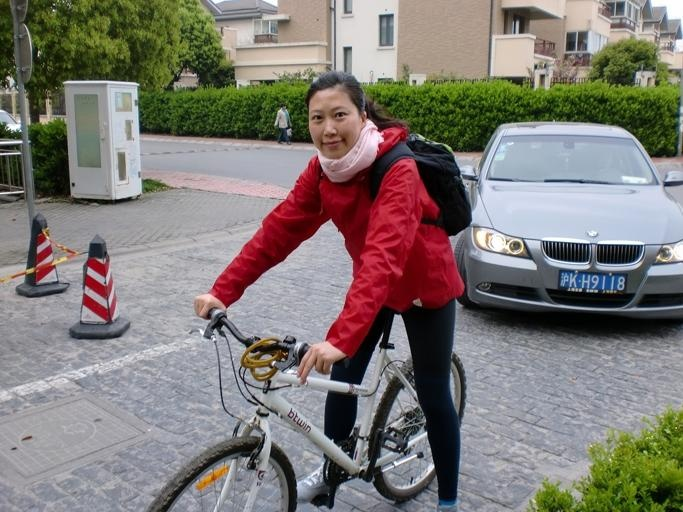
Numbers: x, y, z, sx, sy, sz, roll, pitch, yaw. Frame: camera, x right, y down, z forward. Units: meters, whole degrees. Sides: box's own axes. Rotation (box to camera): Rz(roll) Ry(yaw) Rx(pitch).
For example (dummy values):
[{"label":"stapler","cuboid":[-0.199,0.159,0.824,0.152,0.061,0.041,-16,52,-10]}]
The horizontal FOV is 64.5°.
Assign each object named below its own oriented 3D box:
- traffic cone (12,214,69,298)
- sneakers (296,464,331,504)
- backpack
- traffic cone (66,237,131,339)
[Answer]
[{"label":"traffic cone","cuboid":[-3.766,-0.019,6.843,0.601,0.875,0.598,-1,6,1]},{"label":"sneakers","cuboid":[-0.143,1.110,2.648,0.085,0.106,0.243,2,-3,30]},{"label":"backpack","cuboid":[0.377,-0.317,2.587,0.482,0.475,0.391,-11,24,12]},{"label":"traffic cone","cuboid":[-2.507,0.285,5.544,0.585,0.988,0.532,-2,14,-10]}]
